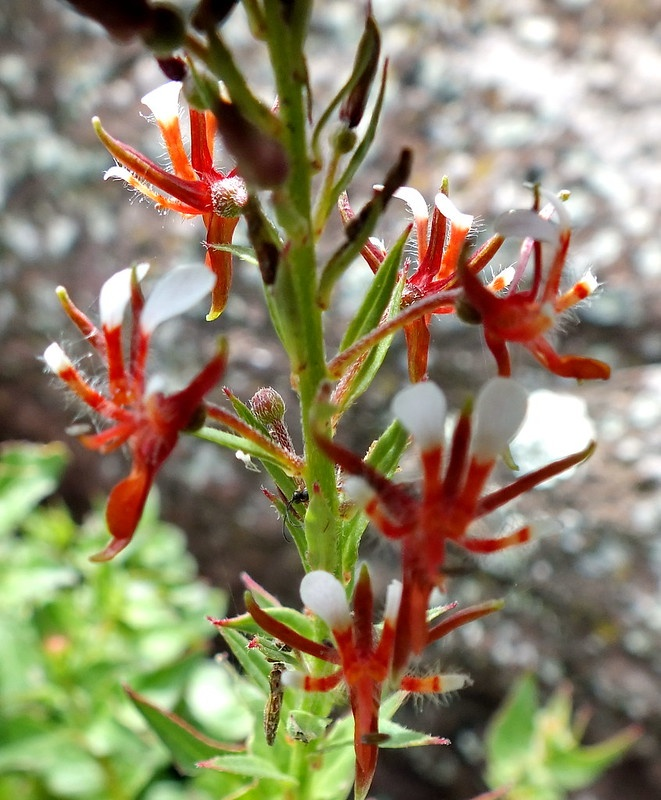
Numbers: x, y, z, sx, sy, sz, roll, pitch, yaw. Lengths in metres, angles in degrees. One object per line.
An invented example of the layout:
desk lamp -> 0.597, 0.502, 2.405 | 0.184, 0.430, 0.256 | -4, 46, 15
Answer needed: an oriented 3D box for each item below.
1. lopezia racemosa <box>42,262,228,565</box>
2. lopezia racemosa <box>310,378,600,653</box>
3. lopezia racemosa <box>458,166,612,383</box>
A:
lopezia racemosa -> -0.311, 0.005, 1.369 | 0.211, 0.501, 0.252 | 6, 30, -24
lopezia racemosa -> 0.198, 0.144, 1.344 | 0.346, 0.396, 0.138 | 9, 55, 25
lopezia racemosa -> 0.308, -0.159, 1.352 | 0.132, 0.274, 0.314 | -5, -30, 44
